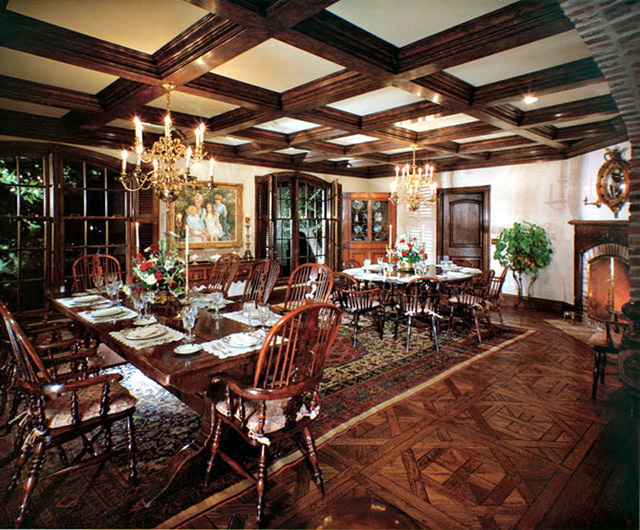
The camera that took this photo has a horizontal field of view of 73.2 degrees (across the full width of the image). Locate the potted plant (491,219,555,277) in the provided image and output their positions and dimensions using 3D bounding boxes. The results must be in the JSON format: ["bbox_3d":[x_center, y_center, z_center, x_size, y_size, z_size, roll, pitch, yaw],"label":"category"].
[{"bbox_3d":[3.331,-0.246,7.528,1.265,0.997,1.039,0,1,23],"label":"potted plant"}]

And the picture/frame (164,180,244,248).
[{"bbox_3d":[-1.843,-0.758,6.820,0.095,1.083,1.563,9,11,34],"label":"picture/frame"}]

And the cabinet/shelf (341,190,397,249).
[{"bbox_3d":[0.881,-0.906,9.272,1.579,1.215,0.511,-4,9,-37],"label":"cabinet/shelf"}]

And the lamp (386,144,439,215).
[{"bbox_3d":[1.531,-1.451,7.138,0.907,1.032,0.814,6,9,39],"label":"lamp"}]

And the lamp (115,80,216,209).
[{"bbox_3d":[-1.439,-1.131,4.147,0.914,0.826,0.762,-4,11,-22],"label":"lamp"}]

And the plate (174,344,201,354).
[{"bbox_3d":[-0.825,0.530,2.707,0.162,0.030,0.110,-3,11,-15],"label":"plate"}]
